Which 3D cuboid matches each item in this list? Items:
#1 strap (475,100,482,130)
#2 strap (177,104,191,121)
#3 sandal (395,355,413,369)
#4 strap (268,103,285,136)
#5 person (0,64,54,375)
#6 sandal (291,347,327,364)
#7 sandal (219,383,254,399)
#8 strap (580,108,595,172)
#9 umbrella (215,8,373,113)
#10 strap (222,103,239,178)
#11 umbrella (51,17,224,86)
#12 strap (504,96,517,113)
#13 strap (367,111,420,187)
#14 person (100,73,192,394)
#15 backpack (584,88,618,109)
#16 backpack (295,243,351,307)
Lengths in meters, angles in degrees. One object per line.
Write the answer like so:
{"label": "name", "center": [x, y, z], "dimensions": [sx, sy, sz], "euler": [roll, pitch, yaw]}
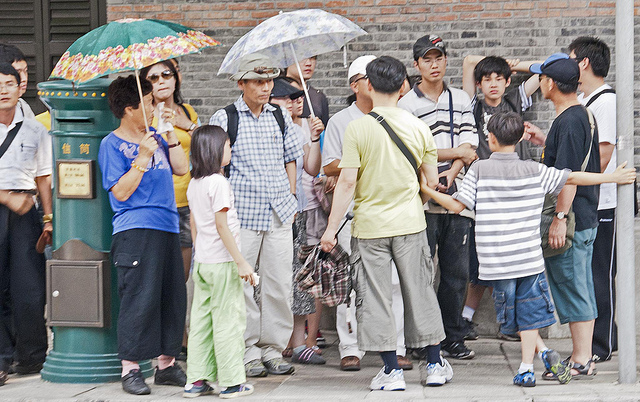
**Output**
{"label": "strap", "center": [1.783, -0.984, 8.433], "dimensions": [0.046, 0.413, 0.050], "euler": [2, -17, 38]}
{"label": "strap", "center": [-1.417, -0.935, 7.825], "dimensions": [0.110, 0.105, 0.073], "euler": [-3, -1, -16]}
{"label": "sandal", "center": [0.831, 1.606, 7.463], "dimensions": [0.142, 0.110, 0.169], "euler": [-4, -1, 34]}
{"label": "strap", "center": [-0.445, -0.817, 7.412], "dimensions": [0.114, 0.226, 0.172], "euler": [-3, -1, -29]}
{"label": "person", "center": [-2.936, 0.192, 7.431], "dimensions": [0.567, 3.065, 0.438], "euler": [-3, -2, -18]}
{"label": "sandal", "center": [-0.113, 1.599, 7.715], "dimensions": [0.296, 0.104, 0.141], "euler": [0, -4, 3]}
{"label": "sandal", "center": [-0.746, 1.711, 6.794], "dimensions": [0.319, 0.124, 0.111], "euler": [-7, 9, -28]}
{"label": "strap", "center": [2.528, -0.581, 7.087], "dimensions": [0.085, 0.549, 0.254], "euler": [-5, -2, 40]}
{"label": "umbrella", "center": [-0.269, -1.653, 7.673], "dimensions": [1.397, 0.841, 1.299], "euler": [-24, 4, 1]}
{"label": "strap", "center": [-0.859, -0.592, 7.220], "dimensions": [0.152, 0.497, 0.152], "euler": [-3, -2, -24]}
{"label": "umbrella", "center": [-1.702, -1.381, 6.736], "dimensions": [1.372, 0.663, 0.515], "euler": [-2, -1, -17]}
{"label": "strap", "center": [2.158, -1.103, 8.488], "dimensions": [0.163, 0.136, 0.151], "euler": [6, -2, -13]}
{"label": "strap", "center": [0.644, -0.479, 6.772], "dimensions": [0.113, 0.764, 0.117], "euler": [-34, 7, 23]}
{"label": "person", "center": [-1.568, 0.296, 6.938], "dimensions": [0.686, 2.917, 0.564], "euler": [-4, -2, 26]}
{"label": "backpack", "center": [2.805, -1.049, 7.516], "dimensions": [0.304, 0.278, 0.232], "euler": [-5, -7, 25]}
{"label": "backpack", "center": [0.051, 0.686, 6.933], "dimensions": [0.535, 0.537, 0.268], "euler": [2, 6, -4]}
